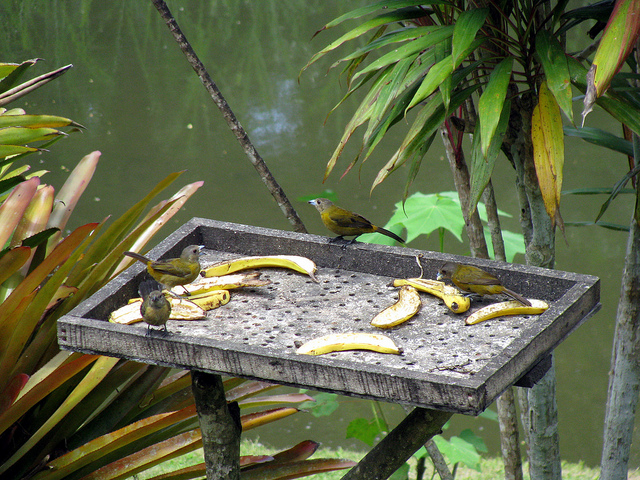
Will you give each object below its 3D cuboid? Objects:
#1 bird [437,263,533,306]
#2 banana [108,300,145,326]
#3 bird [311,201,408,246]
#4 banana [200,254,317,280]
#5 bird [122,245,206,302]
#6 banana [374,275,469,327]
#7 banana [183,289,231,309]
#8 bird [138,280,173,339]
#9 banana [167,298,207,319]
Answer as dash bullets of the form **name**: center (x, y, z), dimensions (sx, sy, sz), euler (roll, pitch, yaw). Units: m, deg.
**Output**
- **bird**: center (0.461, 0.122, 2.580), dimensions (0.265, 0.107, 0.087), euler (3, 3, 21)
- **banana**: center (-0.540, 0.207, 2.548), dimensions (0.085, 0.020, 0.083), euler (-29, 33, -17)
- **bird**: center (0.117, -0.056, 2.945), dimensions (0.315, 0.130, 0.109), euler (6, 5, 4)
- **banana**: center (-0.173, 0.073, 2.743), dimensions (0.372, 0.051, 0.117), euler (-3, 31, 6)
- **bird**: center (-0.461, 0.087, 2.666), dimensions (0.234, 0.154, 0.086), euler (4, 11, 1)
- **banana**: center (0.291, 0.162, 2.555), dimensions (0.176, 0.043, 0.156), euler (7, 33, 34)
- **banana**: center (-0.311, 0.164, 2.602), dimensions (0.097, 0.026, 0.058), euler (-16, 0, 4)
- **bird**: center (-0.443, 0.180, 2.463), dimensions (0.077, 0.129, 0.230), euler (-3, 12, -12)
- **banana**: center (-0.371, 0.188, 2.562), dimensions (0.101, 0.042, 0.092), euler (-10, 38, 0)
